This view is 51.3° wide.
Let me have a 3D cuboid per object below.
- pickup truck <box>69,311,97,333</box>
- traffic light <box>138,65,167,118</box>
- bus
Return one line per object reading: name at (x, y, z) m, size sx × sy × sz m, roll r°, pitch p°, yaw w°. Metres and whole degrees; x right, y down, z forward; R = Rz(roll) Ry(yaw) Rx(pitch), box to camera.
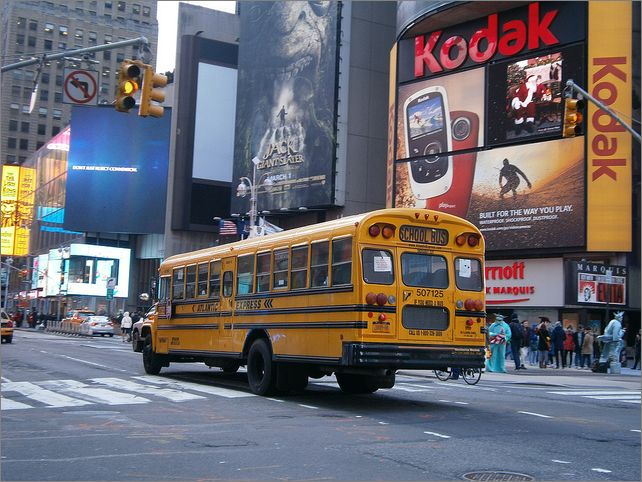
pickup truck at (-22.864, 7.694, 62.811) m, size 2.084 × 1.631 × 4.418 m, roll 3°, pitch -5°, yaw -33°
traffic light at (-3.945, -3.399, 15.458) m, size 0.394 × 1.132 × 0.622 m, roll 5°, pitch -2°, yaw 43°
bus at (-0.973, 1.923, 17.801) m, size 4.011 × 4.001 × 11.056 m, roll 8°, pitch -11°, yaw -36°
